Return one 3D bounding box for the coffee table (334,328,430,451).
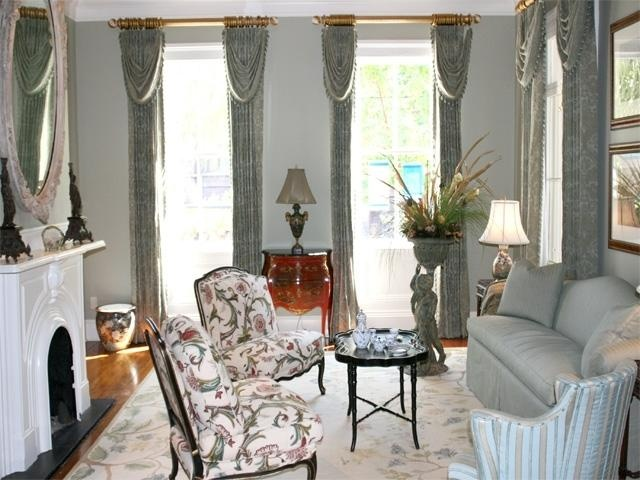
[{"bbox_3d":[0.465,1.039,3.891,0.537,0.690,0.826,-1,0,3],"label":"coffee table"}]

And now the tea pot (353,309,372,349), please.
[{"bbox_3d":[0.308,0.650,3.925,0.126,0.273,0.130,0,4,0],"label":"tea pot"}]

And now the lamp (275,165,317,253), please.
[{"bbox_3d":[-0.260,-0.339,5.752,0.402,0.886,0.569,-1,10,-2],"label":"lamp"}]

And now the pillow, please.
[{"bbox_3d":[1.764,0.435,4.499,0.258,0.530,0.511,5,3,-38],"label":"pillow"}]

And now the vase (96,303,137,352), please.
[{"bbox_3d":[-2.176,0.940,5.744,0.367,0.476,0.375,-3,8,-33],"label":"vase"}]

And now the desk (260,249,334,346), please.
[{"bbox_3d":[-0.228,0.483,5.945,0.768,1.157,0.707,5,29,9],"label":"desk"}]

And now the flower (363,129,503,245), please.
[{"bbox_3d":[1.177,-0.339,5.346,1.141,1.213,1.182,-2,-2,45],"label":"flower"}]
